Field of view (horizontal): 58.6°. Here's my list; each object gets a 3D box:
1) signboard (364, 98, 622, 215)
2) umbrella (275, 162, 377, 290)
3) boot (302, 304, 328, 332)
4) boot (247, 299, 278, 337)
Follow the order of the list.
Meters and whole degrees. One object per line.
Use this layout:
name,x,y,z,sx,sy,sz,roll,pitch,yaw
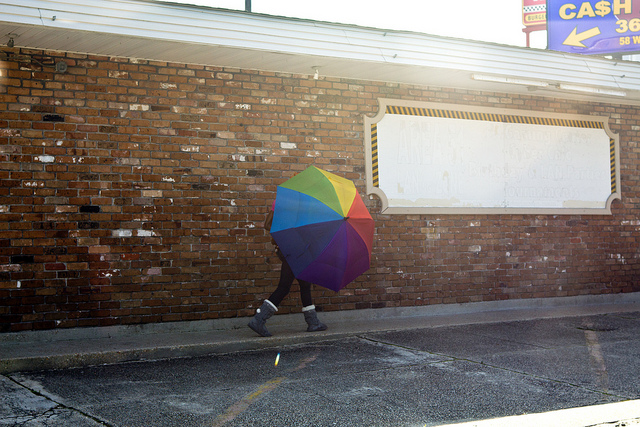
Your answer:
signboard,3.910,-1.212,12.927,6.349,2.758,0.375,-3,3,-18
umbrella,0.061,0.281,9.527,1.627,1.901,0.630,-3,3,-6
boot,-0.102,1.914,10.469,0.410,0.494,0.161,-2,3,-2
boot,-1.041,1.880,10.194,0.374,0.570,0.573,12,-28,33
